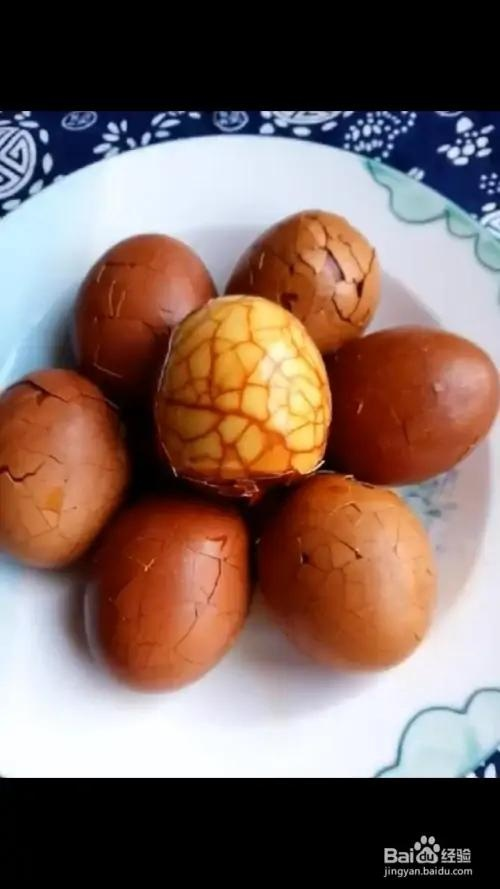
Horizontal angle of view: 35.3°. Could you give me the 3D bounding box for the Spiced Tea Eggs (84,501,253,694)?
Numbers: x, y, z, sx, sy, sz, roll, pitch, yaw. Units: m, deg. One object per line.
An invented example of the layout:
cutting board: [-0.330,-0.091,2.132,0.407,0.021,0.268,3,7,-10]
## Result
Spiced Tea Eggs: [-0.042,0.091,0.470,0.086,0.094,0.117,7,41,11]

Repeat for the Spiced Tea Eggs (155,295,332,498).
Spiced Tea Eggs: [-0.005,-0.016,0.459,0.081,0.084,0.111,4,83,-15]

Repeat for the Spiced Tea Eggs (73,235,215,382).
Spiced Tea Eggs: [-0.069,-0.078,0.517,0.090,0.115,0.087,4,-4,-45]
